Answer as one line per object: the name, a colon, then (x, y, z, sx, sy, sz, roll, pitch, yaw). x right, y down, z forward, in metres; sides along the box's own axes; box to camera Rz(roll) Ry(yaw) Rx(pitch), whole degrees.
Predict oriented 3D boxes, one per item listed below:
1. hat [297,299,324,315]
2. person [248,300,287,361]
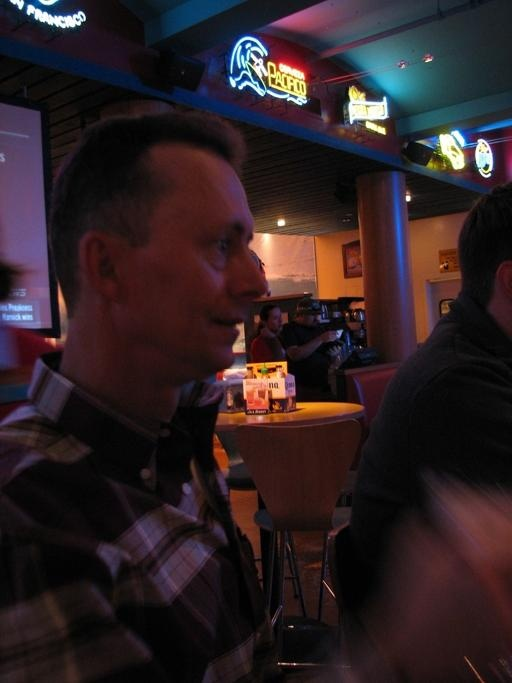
hat: (0.502, -0.323, 5.112, 0.171, 0.104, 0.177, 1, -2, -31)
person: (0.081, -0.015, 4.820, 0.347, 0.318, 1.120, 10, -24, 7)
